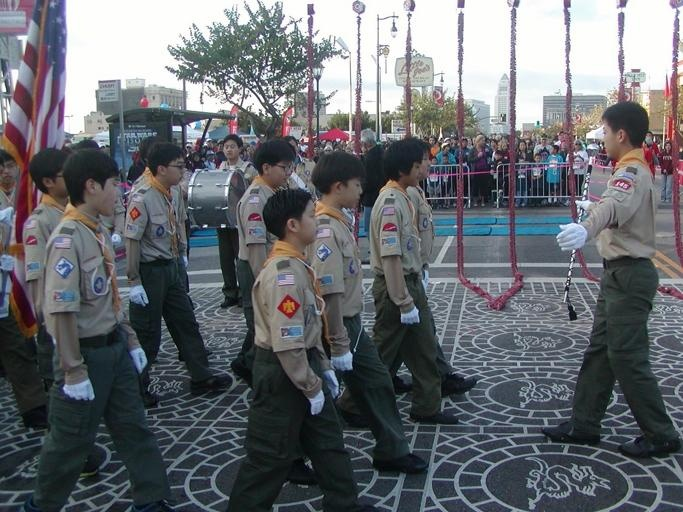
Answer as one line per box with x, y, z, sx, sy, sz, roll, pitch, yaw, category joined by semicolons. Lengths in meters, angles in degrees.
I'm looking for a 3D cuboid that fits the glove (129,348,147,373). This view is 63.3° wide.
-1.364;0.684;3.705;0.048;0.152;0.146;-8;20;-22;glove

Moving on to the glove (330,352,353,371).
0.000;0.687;3.673;0.129;0.103;0.111;0;-5;19;glove

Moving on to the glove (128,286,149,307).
-1.895;0.363;5.154;0.140;0.199;0.077;-6;21;9;glove

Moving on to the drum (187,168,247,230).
-1.850;-0.802;7.944;0.546;0.903;0.881;0;5;-3;drum

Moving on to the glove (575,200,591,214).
1.840;-0.376;4.198;0.067;0.100;0.167;25;13;32;glove

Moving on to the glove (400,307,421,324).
0.537;0.472;4.367;0.133;0.127;0.114;-5;6;-43;glove

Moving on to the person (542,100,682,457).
2.068;0.164;4.102;0.978;2.579;0.778;-7;12;-23;person

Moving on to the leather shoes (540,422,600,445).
1.771;1.386;4.338;0.424;0.185;0.169;9;-24;15;leather shoes
